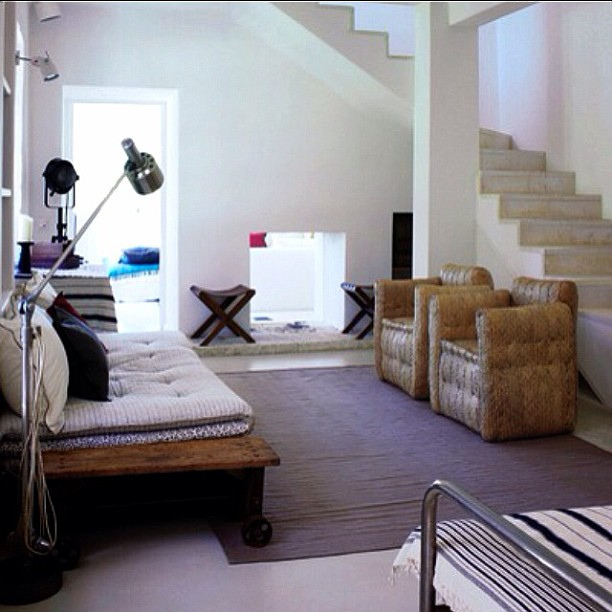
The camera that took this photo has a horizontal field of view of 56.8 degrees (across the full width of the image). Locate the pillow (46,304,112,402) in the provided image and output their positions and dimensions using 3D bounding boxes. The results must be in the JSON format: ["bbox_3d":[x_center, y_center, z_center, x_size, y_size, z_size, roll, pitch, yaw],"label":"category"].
[{"bbox_3d":[-1.033,0.209,2.609,0.230,0.422,0.526,-2,-13,-19],"label":"pillow"}]

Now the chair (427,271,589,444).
[{"bbox_3d":[1.272,0.278,3.681,0.658,0.974,0.817,0,7,-8],"label":"chair"}]

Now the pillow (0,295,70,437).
[{"bbox_3d":[-0.968,0.235,2.021,0.174,0.248,0.407,8,10,-26],"label":"pillow"}]

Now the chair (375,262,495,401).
[{"bbox_3d":[1.014,0.113,4.812,0.825,1.383,1.080,0,2,-20],"label":"chair"}]

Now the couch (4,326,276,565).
[{"bbox_3d":[-0.787,0.539,2.530,0.934,0.624,1.489,-2,7,-25],"label":"couch"}]

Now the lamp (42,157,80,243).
[{"bbox_3d":[-2.213,-0.936,5.142,0.259,0.773,0.265,3,-4,-9],"label":"lamp"}]

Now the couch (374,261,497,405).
[{"bbox_3d":[1.012,0.155,4.856,0.899,1.528,0.935,0,2,-18],"label":"couch"}]
